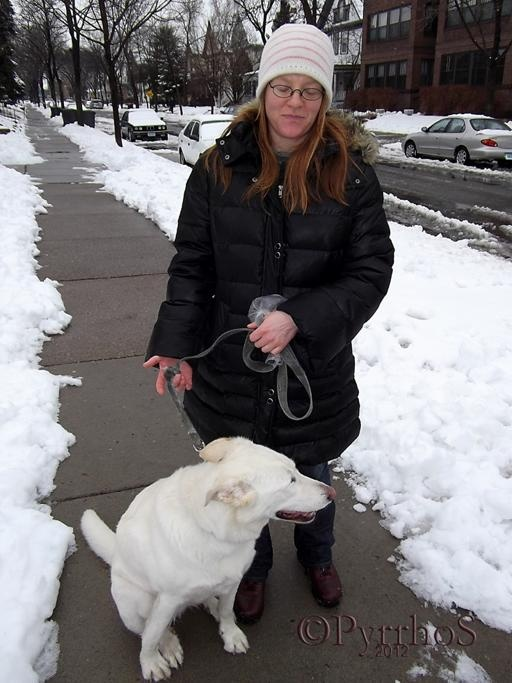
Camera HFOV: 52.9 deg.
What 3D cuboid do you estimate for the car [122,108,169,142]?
[{"bbox_3d":[-5.714,-10.657,25.043,1.418,0.997,2.761,-11,36,-19],"label":"car"}]

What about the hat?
[{"bbox_3d":[0.132,-0.967,1.864,0.252,0.250,0.287,7,2,-3],"label":"hat"}]

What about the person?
[{"bbox_3d":[0.034,-0.010,2.012,0.946,2.100,0.761,1,15,4],"label":"person"}]

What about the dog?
[{"bbox_3d":[-0.176,0.773,1.799,0.801,0.995,0.398,7,24,18],"label":"dog"}]

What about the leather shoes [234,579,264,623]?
[{"bbox_3d":[-0.026,1.069,2.167,0.068,0.081,0.194,3,21,-2],"label":"leather shoes"}]

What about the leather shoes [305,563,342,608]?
[{"bbox_3d":[0.293,1.051,2.264,0.086,0.090,0.199,-7,13,-12],"label":"leather shoes"}]
